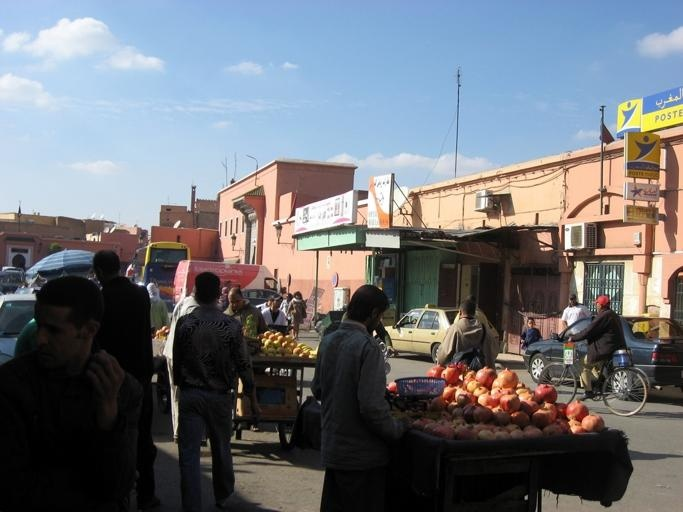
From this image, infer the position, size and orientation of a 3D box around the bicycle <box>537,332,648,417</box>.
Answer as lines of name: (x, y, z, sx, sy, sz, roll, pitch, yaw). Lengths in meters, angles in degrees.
bicycle: (4.698, 2.267, 12.366, 2.105, 1.324, 0.818, -2, -26, 44)

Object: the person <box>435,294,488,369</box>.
person: (1.553, 1.008, 8.144, 0.657, 0.608, 1.489, 3, -2, -43)

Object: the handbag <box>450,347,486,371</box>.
handbag: (1.559, 1.254, 8.004, 0.325, 0.198, 0.394, 1, 4, -44)

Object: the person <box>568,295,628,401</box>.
person: (4.704, 1.631, 12.238, 0.959, 1.982, 1.044, -1, 3, -9)

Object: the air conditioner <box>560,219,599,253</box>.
air conditioner: (6.700, -0.465, 18.641, 0.621, 1.094, 1.190, 3, -3, -24)

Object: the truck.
truck: (-3.871, 1.178, 23.468, 2.870, 1.828, 3.633, 1, -1, -30)

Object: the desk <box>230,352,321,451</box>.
desk: (-0.907, 1.778, 8.716, 1.029, 1.352, 1.172, 2, -2, -24)
